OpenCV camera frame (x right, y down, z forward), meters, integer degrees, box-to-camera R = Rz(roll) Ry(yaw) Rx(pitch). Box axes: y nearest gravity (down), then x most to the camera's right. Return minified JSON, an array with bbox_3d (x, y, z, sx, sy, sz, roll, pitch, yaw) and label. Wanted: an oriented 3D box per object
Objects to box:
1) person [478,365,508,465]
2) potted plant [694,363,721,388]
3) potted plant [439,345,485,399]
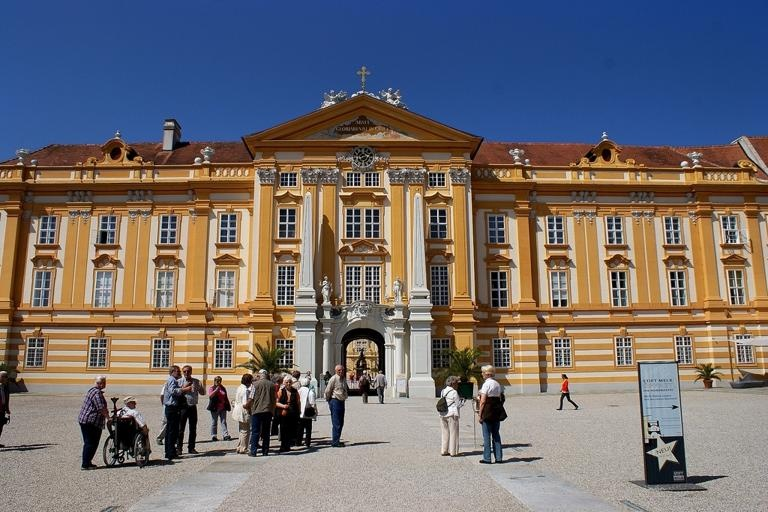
[{"bbox_3d":[3.779,5.551,22.935,1.266,3.124,1.044,0,2,-1],"label":"person"},{"bbox_3d":[23.934,8.733,48.245,1.771,1.452,1.560,5,-12,1],"label":"potted plant"},{"bbox_3d":[5.589,8.039,44.131,2.728,2.791,2.251,-11,-9,26],"label":"potted plant"}]
